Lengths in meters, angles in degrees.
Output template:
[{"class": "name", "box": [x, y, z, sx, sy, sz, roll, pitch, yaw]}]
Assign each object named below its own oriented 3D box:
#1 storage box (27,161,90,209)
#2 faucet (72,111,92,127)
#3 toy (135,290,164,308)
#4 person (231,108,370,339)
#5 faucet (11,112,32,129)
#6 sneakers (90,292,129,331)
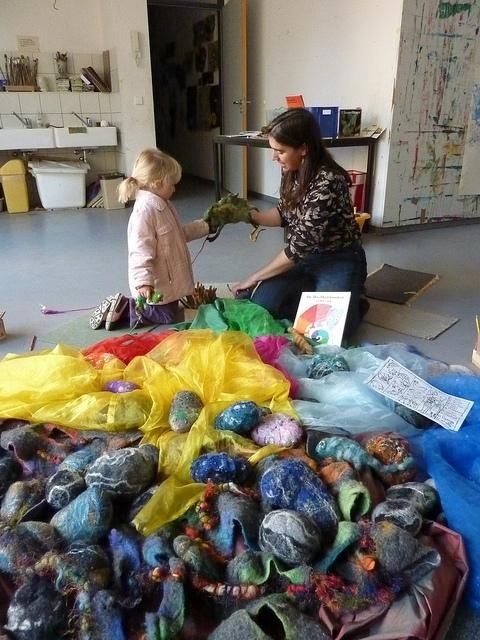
[{"class": "storage box", "box": [-2.409, -1.745, 5.644, 0.781, 0.544, 0.680, -7, 22, -21]}, {"class": "faucet", "box": [-2.127, -2.714, 5.755, 0.230, 0.177, 0.093, 7, 23, 16]}, {"class": "toy", "box": [-0.452, -0.104, 2.130, 0.122, 0.069, 0.056, -12, 4, 41]}, {"class": "person", "box": [0.324, -0.508, 2.194, 0.690, 1.044, 0.650, 7, 23, 15]}, {"class": "faucet", "box": [-2.793, -2.563, 5.469, 0.198, 0.168, 0.092, 2, 22, 4]}, {"class": "sneakers", "box": [-0.693, -0.020, 2.294, 0.095, 0.249, 0.139, 20, 36, -51]}]
